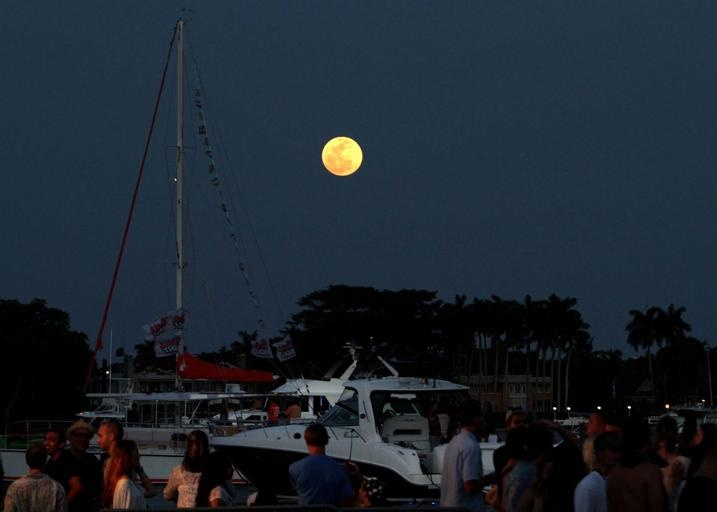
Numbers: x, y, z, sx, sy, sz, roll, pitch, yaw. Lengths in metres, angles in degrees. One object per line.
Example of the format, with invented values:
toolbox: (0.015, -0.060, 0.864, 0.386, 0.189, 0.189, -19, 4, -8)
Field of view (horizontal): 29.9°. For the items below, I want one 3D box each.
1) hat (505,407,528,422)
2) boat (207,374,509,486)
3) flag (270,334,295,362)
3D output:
hat: (3.957, 4.006, 33.785, 0.364, 0.443, 0.488, 2, 12, -14)
boat: (0.208, 5.025, 38.172, 8.996, 3.464, 3.120, -1, 1, 0)
flag: (-2.418, 2.980, 43.745, 0.649, 0.902, 1.873, 3, -12, -3)
